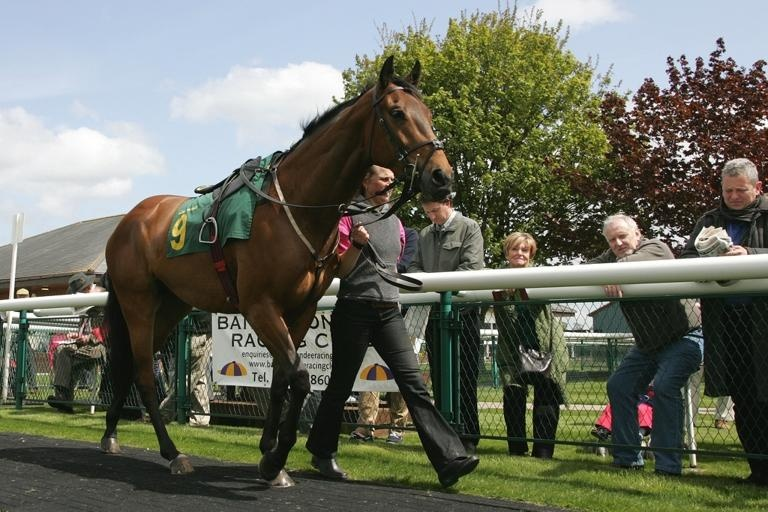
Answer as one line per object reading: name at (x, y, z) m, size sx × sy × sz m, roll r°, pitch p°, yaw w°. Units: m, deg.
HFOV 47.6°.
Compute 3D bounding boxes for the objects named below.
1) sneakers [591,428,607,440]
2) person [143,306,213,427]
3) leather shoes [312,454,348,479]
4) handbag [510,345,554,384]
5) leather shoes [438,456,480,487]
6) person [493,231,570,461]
sneakers at (2.057, 1.696, 8.300) m, size 0.182 × 0.075 × 0.085 m, roll 34°, pitch 3°, yaw -45°
person at (-2.295, 1.339, 10.380) m, size 0.390 × 1.299 × 0.949 m, roll 2°, pitch 1°, yaw -32°
leather shoes at (-0.504, 1.902, 7.866) m, size 0.384 × 0.150 × 0.141 m, roll 9°, pitch 6°, yaw 33°
handbag at (1.426, 1.035, 8.252) m, size 0.319 × 0.289 × 0.164 m, roll 0°, pitch 0°, yaw 13°
leather shoes at (0.636, 1.847, 7.416) m, size 0.343 × 0.283 × 0.174 m, roll -7°, pitch -9°, yaw 44°
person at (1.455, 0.847, 8.599) m, size 0.695 × 2.245 × 0.694 m, roll -2°, pitch -7°, yaw 11°
